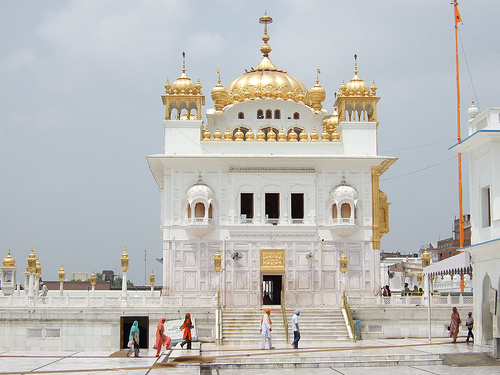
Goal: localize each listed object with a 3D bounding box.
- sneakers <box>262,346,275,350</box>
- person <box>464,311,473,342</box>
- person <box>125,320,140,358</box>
[{"bbox_3d":[0.926,7.381,59.640,0.643,0.255,0.198,-2,-7,6],"label":"sneakers"},{"bbox_3d":[10.212,6.406,60.054,0.346,1.406,1.312,-3,-11,9],"label":"person"},{"bbox_3d":[-5.178,6.735,58.061,0.528,1.707,1.542,0,-11,-6],"label":"person"}]
